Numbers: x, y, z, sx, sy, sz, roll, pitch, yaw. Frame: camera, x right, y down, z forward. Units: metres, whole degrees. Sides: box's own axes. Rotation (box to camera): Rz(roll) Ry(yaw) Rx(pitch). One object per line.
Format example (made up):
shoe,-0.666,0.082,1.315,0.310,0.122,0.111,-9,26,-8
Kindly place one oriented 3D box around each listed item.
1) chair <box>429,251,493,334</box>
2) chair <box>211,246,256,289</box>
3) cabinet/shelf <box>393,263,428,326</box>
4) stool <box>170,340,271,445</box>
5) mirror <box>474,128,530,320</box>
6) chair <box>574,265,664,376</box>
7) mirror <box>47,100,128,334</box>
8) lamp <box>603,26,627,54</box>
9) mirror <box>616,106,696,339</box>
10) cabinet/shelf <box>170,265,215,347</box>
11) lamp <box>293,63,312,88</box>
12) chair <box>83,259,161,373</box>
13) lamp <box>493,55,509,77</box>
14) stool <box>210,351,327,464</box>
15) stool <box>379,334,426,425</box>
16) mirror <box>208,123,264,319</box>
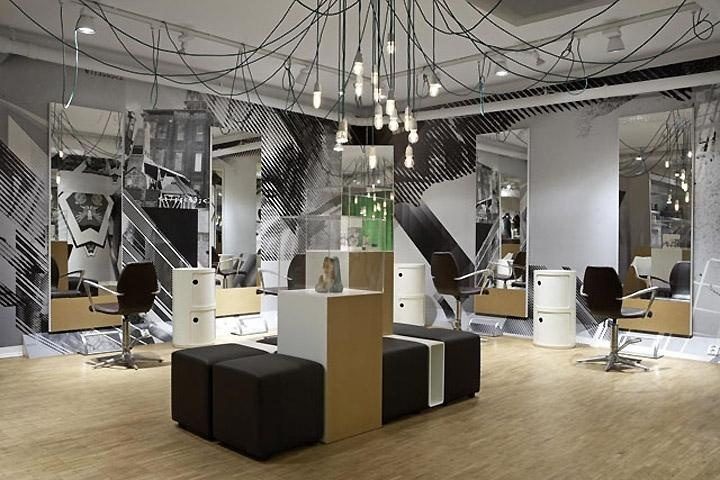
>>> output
chair,1.714,0.960,9.077,1.122,1.526,1.153,0,3,-17
chair,-2.358,0.513,9.626,0.600,0.808,0.573,7,-9,-37
cabinet/shelf,0.920,1.001,9.590,0.563,1.116,0.288,1,6,2
stool,-1.354,1.463,5.284,0.863,0.931,0.819,4,-4,-44
mirror,2.405,-0.113,9.477,1.017,3.061,0.046,14,-17,-35
chair,3.652,1.105,7.402,0.800,1.446,0.965,0,1,-8
mirror,-4.155,-0.304,8.044,0.030,3.512,1.124,-6,-4,32
lamp,3.702,-2.879,7.459,0.308,0.359,0.315,5,8,32
mirror,4.726,-0.035,8.297,1.195,4.356,0.055,4,27,36
cabinet/shelf,-2.610,1.056,8.081,0.638,1.229,0.331,-2,7,-24
lamp,-1.033,-2.847,8.770,0.090,0.393,0.401,23,7,15
chair,-3.367,1.017,7.404,0.844,1.454,0.951,1,1,12
lamp,2.291,-2.855,8.355,0.278,0.336,0.288,-1,2,-8
stool,-0.908,1.510,4.909,0.863,0.932,0.845,1,-2,-42
stool,0.290,1.509,5.554,0.667,0.732,0.641,3,-6,-40
mirror,-2.244,-0.306,9.370,0.920,3.342,0.038,0,0,-26
